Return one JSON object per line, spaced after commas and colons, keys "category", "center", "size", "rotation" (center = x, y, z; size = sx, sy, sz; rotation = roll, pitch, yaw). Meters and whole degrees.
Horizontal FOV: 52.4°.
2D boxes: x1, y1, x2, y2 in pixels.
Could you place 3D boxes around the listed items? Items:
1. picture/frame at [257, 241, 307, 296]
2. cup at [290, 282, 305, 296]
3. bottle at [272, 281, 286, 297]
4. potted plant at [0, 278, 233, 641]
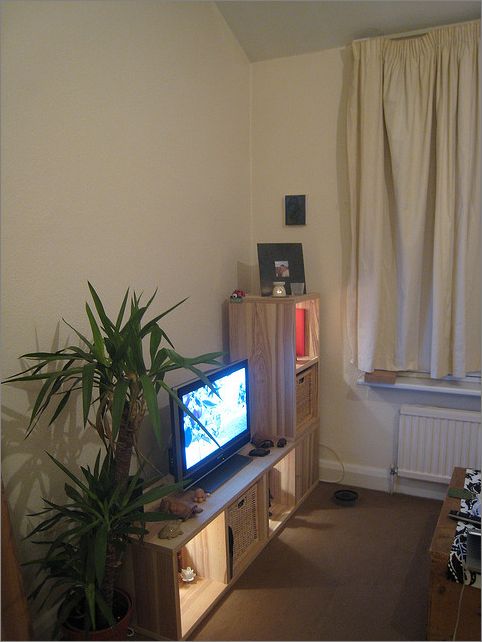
{"category": "picture/frame", "center": [0.241, -0.310, 2.882], "size": [0.012, 0.360, 0.280], "rotation": [-8, -10, 40]}
{"category": "cup", "center": [0.337, -0.189, 2.855], "size": [0.060, 0.065, 0.067], "rotation": [-1, 4, -1]}
{"category": "bottle", "center": [0.216, -0.181, 2.789], "size": [0.071, 0.084, 0.072], "rotation": [-1, 1, 45]}
{"category": "potted plant", "center": [-0.434, 0.476, 1.732], "size": [0.611, 1.231, 0.835], "rotation": [0, 5, 3]}
